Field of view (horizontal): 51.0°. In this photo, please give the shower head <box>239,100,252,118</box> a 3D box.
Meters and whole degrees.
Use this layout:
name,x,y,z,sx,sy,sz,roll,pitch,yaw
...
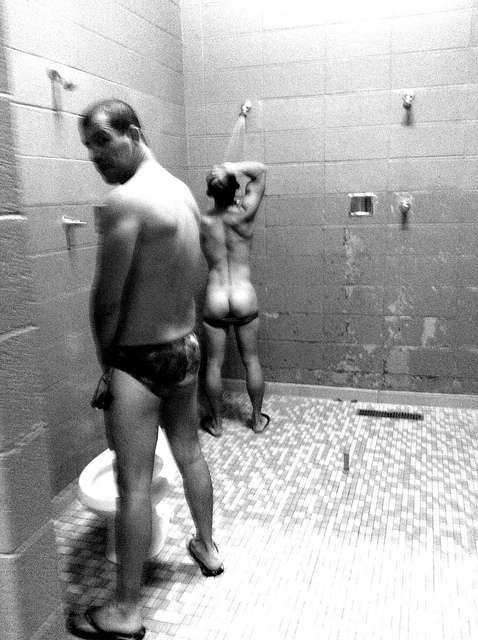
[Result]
name,x,y,z,sx,sy,sz,roll,pitch,yaw
shower head,0.035,-1.207,2.864,0.039,0.090,0.040,6,5,1

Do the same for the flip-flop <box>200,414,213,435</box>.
name,x,y,z,sx,sy,sz,roll,pitch,yaw
flip-flop,-0.180,0.566,2.759,0.021,0.078,0.067,11,13,-24

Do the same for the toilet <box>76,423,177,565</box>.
name,x,y,z,sx,sy,sz,roll,pitch,yaw
toilet,-0.337,0.518,1.590,0.235,0.348,0.455,3,20,9

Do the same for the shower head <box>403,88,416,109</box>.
name,x,y,z,sx,sy,sz,roll,pitch,yaw
shower head,0.903,-1.190,2.660,0.061,0.097,0.044,2,8,18
